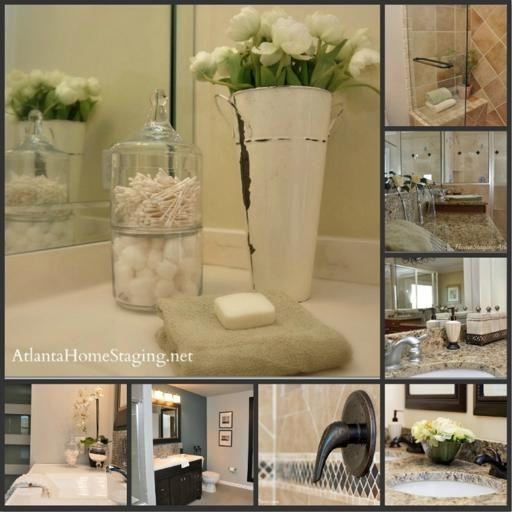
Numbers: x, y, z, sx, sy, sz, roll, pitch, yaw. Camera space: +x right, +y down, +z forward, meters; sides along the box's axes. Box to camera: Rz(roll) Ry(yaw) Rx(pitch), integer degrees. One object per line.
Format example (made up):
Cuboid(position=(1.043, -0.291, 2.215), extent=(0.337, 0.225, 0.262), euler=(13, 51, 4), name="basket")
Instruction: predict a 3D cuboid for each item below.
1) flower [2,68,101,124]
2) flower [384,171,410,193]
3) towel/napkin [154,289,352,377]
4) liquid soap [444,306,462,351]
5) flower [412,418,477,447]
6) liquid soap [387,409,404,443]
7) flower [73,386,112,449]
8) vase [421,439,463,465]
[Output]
Cuboid(position=(-0.446, -0.358, 1.154), extent=(0.028, 0.148, 0.225), euler=(-3, -2, 41), name="flower")
Cuboid(position=(0.242, -0.125, 0.871), extent=(0.031, 0.012, 0.037), euler=(2, 32, 6), name="flower")
Cuboid(position=(-0.006, 0.081, 0.842), extent=(0.290, 0.102, 0.336), euler=(-1, 4, -30), name="towel/napkin")
Cuboid(position=(0.320, 0.118, 0.831), extent=(0.024, 0.069, 0.015), euler=(-2, -2, 14), name="liquid soap")
Cuboid(position=(0.323, 0.303, 0.885), extent=(0.104, 0.055, 0.031), euler=(-2, -2, 19), name="flower")
Cuboid(position=(0.241, 0.291, 0.883), extent=(0.038, 0.053, 0.015), euler=(0, -2, -40), name="liquid soap")
Cuboid(position=(-0.290, 0.272, 0.888), extent=(0.057, 0.100, 0.025), euler=(0, -3, 1), name="flower")
Cuboid(position=(0.327, 0.340, 0.890), extent=(0.040, 0.030, 0.043), euler=(8, -25, -23), name="vase")
